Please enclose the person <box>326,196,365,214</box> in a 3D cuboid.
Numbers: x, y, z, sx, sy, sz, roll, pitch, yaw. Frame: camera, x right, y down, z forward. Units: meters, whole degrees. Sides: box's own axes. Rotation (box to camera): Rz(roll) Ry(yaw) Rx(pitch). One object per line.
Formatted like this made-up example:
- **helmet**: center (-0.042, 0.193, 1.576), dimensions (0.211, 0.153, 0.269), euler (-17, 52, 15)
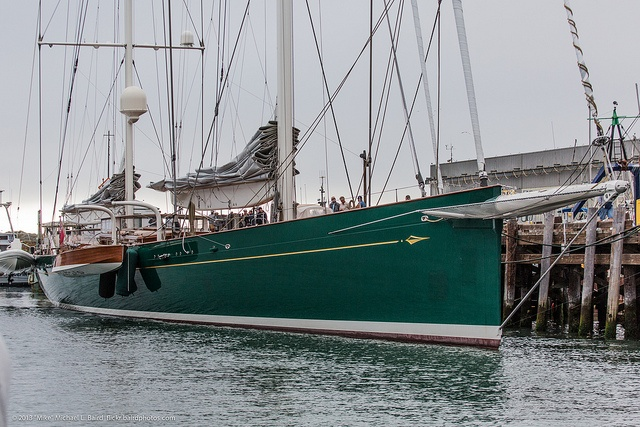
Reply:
- **person**: center (0.795, -0.281, 31.857), dimensions (0.778, 0.311, 0.792), euler (-2, 4, 12)
